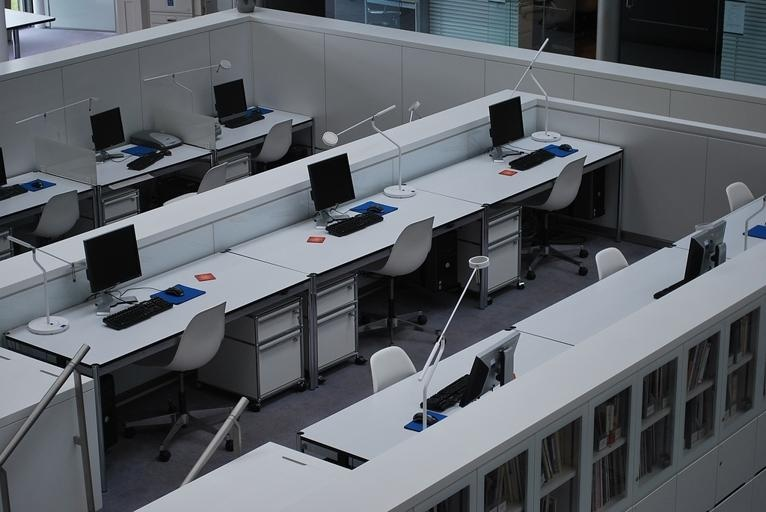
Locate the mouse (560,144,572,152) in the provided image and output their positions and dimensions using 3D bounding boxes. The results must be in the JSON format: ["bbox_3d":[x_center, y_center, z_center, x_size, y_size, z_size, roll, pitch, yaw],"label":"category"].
[{"bbox_3d":[1.834,-1.088,7.813,0.070,0.036,0.115,-14,21,-29],"label":"mouse"}]

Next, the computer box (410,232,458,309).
[{"bbox_3d":[0.374,0.108,7.331,0.532,0.593,0.430,-18,13,-18],"label":"computer box"}]

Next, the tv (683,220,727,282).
[{"bbox_3d":[2.135,-0.021,5.164,0.141,0.342,0.387,26,35,37],"label":"tv"}]

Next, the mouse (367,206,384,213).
[{"bbox_3d":[-0.066,-0.403,6.757,0.105,0.034,0.058,6,22,1],"label":"mouse"}]

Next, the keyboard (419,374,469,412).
[{"bbox_3d":[0.366,0.765,4.518,0.314,0.072,0.172,-33,40,-32],"label":"keyboard"}]

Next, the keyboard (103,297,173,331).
[{"bbox_3d":[-1.698,0.401,5.410,0.197,0.071,0.450,19,30,40],"label":"keyboard"}]

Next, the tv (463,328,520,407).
[{"bbox_3d":[0.600,0.626,4.281,0.128,0.221,0.329,20,31,33],"label":"tv"}]

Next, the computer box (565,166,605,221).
[{"bbox_3d":[2.018,-0.645,7.761,0.363,0.633,0.359,-18,25,-38],"label":"computer box"}]
